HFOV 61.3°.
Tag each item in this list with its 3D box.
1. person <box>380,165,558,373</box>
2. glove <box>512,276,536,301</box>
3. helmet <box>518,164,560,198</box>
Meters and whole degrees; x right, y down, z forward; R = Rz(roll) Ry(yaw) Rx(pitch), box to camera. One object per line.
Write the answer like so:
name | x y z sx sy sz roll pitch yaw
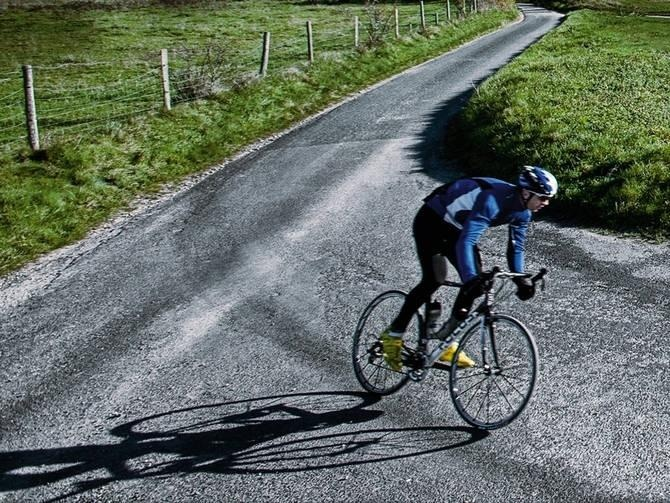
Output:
person | 1.375 0.208 6.056 1.484 2.301 1.062 7 32 10
glove | 1.926 0.350 5.789 0.192 0.237 0.316 6 27 9
helmet | 2.067 -0.734 5.657 0.393 0.217 0.417 -12 31 -10
